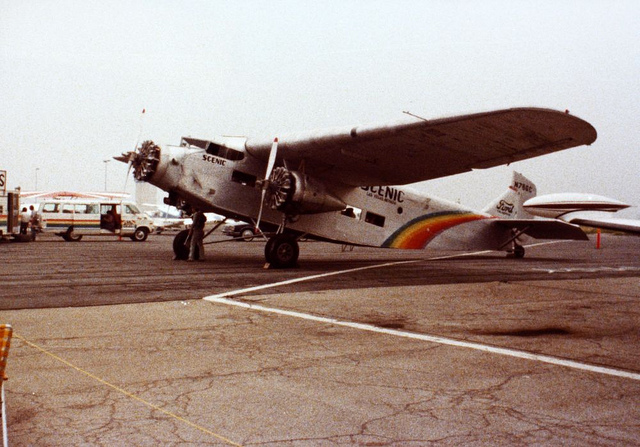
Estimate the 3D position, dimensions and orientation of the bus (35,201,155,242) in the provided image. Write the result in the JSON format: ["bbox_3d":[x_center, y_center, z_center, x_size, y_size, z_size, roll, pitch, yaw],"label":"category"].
[{"bbox_3d":[-12.831,-0.069,30.879,8.290,2.441,2.743,-1,-6,16],"label":"bus"}]
